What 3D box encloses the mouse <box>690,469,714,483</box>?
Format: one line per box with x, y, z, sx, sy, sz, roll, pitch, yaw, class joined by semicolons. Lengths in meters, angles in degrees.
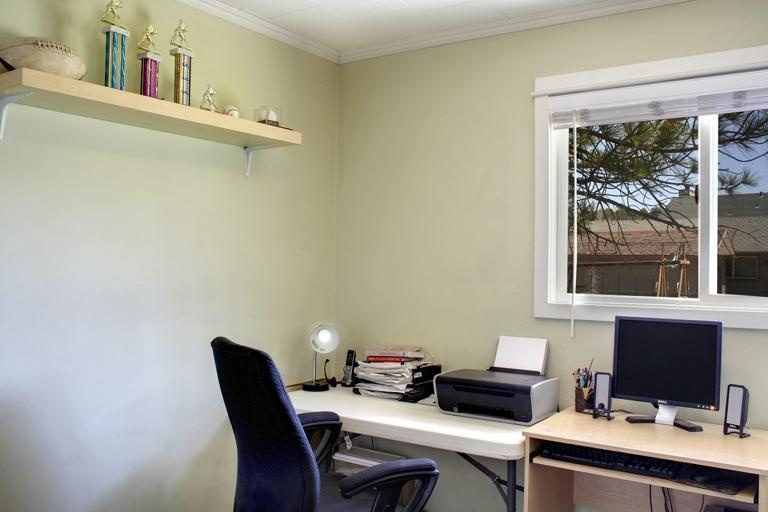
1.531;1.058;2.570;0.065;0.021;0.064;-3;-1;-18;mouse

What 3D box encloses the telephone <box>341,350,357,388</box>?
-0.263;0.819;3.869;0.121;0.224;0.058;-8;-20;41;telephone

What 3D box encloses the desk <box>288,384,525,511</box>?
0.168;1.075;2.999;1.103;0.530;0.319;-3;-5;37;desk

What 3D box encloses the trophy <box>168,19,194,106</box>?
-1.177;-1.121;3.098;0.120;0.575;0.326;-2;2;-21;trophy

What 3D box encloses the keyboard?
1.133;1.030;2.710;0.676;0.081;0.146;-1;1;24;keyboard

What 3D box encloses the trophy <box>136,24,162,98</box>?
-1.322;-1.083;2.994;0.117;0.449;0.252;-2;2;-24;trophy

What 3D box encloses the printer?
0.721;0.665;3.172;0.551;0.366;0.543;-4;-6;39;printer

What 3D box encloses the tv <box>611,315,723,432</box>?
1.570;0.649;2.927;0.623;0.579;0.066;-2;-4;44;tv

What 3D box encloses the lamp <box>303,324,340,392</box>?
-0.431;0.720;3.817;0.247;0.448;0.251;-3;-6;44;lamp
